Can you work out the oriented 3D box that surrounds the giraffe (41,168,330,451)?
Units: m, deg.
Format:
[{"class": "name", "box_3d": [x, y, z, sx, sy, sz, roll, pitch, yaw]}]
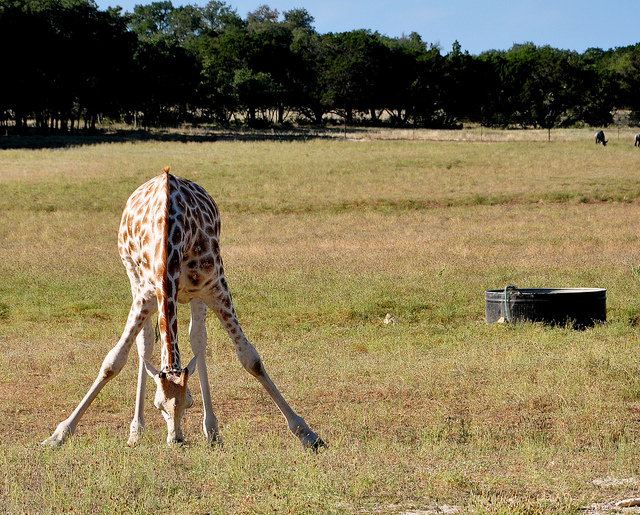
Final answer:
[{"class": "giraffe", "box_3d": [-6.778, 2.569, 61.041, 9.955, 12.384, 18.723, 0, 4, -9]}]
